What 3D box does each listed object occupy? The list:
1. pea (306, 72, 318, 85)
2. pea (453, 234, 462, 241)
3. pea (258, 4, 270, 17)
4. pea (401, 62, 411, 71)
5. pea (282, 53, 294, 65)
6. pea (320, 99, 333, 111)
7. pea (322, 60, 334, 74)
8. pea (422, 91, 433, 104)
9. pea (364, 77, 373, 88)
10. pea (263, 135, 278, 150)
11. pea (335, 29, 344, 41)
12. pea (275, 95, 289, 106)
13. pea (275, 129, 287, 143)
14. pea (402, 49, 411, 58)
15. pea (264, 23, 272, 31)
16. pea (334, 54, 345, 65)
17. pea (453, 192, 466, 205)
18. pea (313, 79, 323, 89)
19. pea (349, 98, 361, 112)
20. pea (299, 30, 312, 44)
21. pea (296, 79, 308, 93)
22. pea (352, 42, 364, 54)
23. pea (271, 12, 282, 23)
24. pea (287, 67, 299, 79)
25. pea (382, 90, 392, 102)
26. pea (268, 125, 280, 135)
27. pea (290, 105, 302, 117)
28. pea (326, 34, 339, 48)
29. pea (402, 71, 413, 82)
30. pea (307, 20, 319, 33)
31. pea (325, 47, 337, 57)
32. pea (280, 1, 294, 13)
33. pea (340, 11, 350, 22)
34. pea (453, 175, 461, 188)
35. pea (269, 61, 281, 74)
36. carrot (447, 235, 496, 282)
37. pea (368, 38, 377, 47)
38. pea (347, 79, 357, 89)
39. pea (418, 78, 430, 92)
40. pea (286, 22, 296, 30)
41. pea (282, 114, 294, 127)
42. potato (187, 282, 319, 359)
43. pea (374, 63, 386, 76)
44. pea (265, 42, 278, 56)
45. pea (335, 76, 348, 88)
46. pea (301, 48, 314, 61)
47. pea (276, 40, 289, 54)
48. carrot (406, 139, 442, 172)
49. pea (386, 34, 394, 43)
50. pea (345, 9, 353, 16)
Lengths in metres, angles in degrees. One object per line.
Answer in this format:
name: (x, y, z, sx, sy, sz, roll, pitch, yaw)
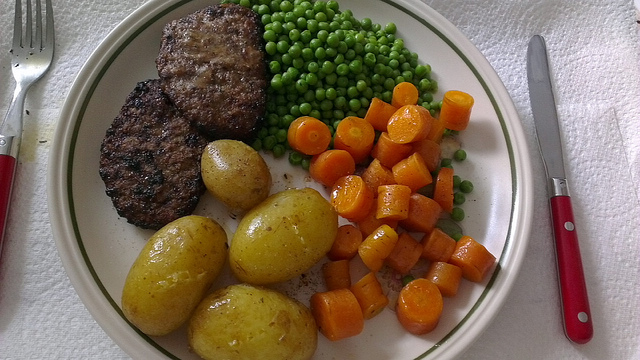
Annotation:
pea: (-0.056, -0.641, 3.684, 0.064, 0.065, 0.062, 12, 18, 40)
pea: (0.875, 0.358, 3.710, 0.038, 0.047, 0.038, 24, 23, 7)
pea: (-0.367, -1.100, 3.781, 0.065, 0.068, 0.069, 10, 87, 31)
pea: (0.556, -0.743, 3.804, 0.055, 0.030, 0.050, -4, 60, 1)
pea: (-0.212, -0.772, 3.700, 0.075, 0.061, 0.062, 11, 78, 52)
pea: (0.040, -0.487, 3.740, 0.079, 0.048, 0.050, -22, 61, -9)
pea: (0.047, -0.715, 3.681, 0.073, 0.070, 0.074, 23, 101, 44)
pea: (0.701, -0.545, 3.815, 0.060, 0.075, 0.061, 16, 33, 31)
pea: (0.312, -0.638, 3.759, 0.052, 0.049, 0.052, 18, 43, -17)
pea: (-0.328, -0.246, 3.723, 0.087, 0.065, 0.072, -33, 85, 1)
pea: (0.121, -0.934, 3.742, 0.052, 0.059, 0.055, 5, 42, 43)
pea: (-0.250, -0.518, 3.747, 0.061, 0.034, 0.064, -5, 89, -1)
pea: (-0.251, -0.284, 3.734, 0.061, 0.040, 0.074, -11, 101, 9)
pea: (0.566, -0.832, 3.836, 0.051, 0.056, 0.057, -15, 90, 29)
pea: (-0.335, -0.986, 3.728, 0.052, 0.043, 0.044, -9, 57, 38)
pea: (0.119, -0.772, 3.702, 0.056, 0.058, 0.052, -37, 22, -32)
pea: (0.893, 0.115, 3.739, 0.074, 0.071, 0.076, -8, 88, -11)
pea: (-0.012, -0.609, 3.733, 0.054, 0.066, 0.057, -3, 74, 6)
pea: (0.221, -0.485, 3.723, 0.064, 0.067, 0.078, 6, 106, 17)
pea: (-0.097, -0.912, 3.748, 0.071, 0.074, 0.088, -38, 25, 4)
pea: (-0.120, -0.602, 3.738, 0.071, 0.070, 0.070, 30, 42, 26)
pea: (0.242, -0.847, 3.726, 0.061, 0.077, 0.063, 4, 22, 12)
pea: (-0.283, -1.047, 3.730, 0.056, 0.053, 0.065, 9, 99, -3)
pea: (-0.177, -0.682, 3.710, 0.073, 0.041, 0.057, 35, 91, -4)
pea: (0.433, -0.549, 3.780, 0.057, 0.055, 0.060, -1, 75, 1)
pea: (-0.304, -0.323, 3.747, 0.060, 0.046, 0.048, -19, 81, 20)
pea: (-0.159, -0.446, 3.738, 0.063, 0.073, 0.066, 2, 100, -12)
pea: (0.078, -0.879, 3.719, 0.067, 0.073, 0.075, -30, 28, 16)
pea: (0.569, -0.679, 3.783, 0.062, 0.077, 0.067, 12, 30, 25)
pea: (-0.050, -0.982, 3.752, 0.066, 0.067, 0.079, -14, 54, -2)
pea: (0.069, -0.816, 3.686, 0.052, 0.050, 0.055, -20, 101, -2)
pea: (-0.216, -1.130, 3.763, 0.083, 0.031, 0.070, -28, 63, -12)
pea: (0.159, -1.065, 3.792, 0.063, 0.023, 0.089, -3, 60, 2)
pea: (0.867, 0.003, 3.795, 0.063, 0.066, 0.077, -2, 43, -12)
pea: (-0.292, -0.722, 3.701, 0.066, 0.064, 0.072, 14, 80, -8)
carrot: (0.941, 0.501, 3.636, 0.255, 0.171, 0.192, 31, 67, 19)
pea: (0.343, -0.904, 3.803, 0.051, 0.040, 0.029, 32, 83, 19)
pea: (0.208, -0.619, 3.743, 0.047, 0.027, 0.049, 4, 60, 5)
pea: (0.673, -0.625, 3.797, 0.064, 0.069, 0.068, 1, 35, -8)
pea: (-0.191, -0.990, 3.721, 0.055, 0.025, 0.056, 25, 65, 17)
pea: (-0.210, -0.388, 3.780, 0.067, 0.085, 0.068, 6, 18, 3)
potato: (-0.395, 0.891, 3.485, 0.747, 0.418, 0.446, 8, 61, 8)
pea: (0.378, -0.720, 3.750, 0.072, 0.025, 0.074, 5, 98, 3)
pea: (-0.314, -0.852, 3.762, 0.071, 0.090, 0.073, -16, 32, -20)
pea: (0.144, -0.627, 3.723, 0.062, 0.065, 0.066, 1, 74, -1)
pea: (-0.086, -0.801, 3.690, 0.067, 0.070, 0.066, 2, 99, -18)
pea: (-0.240, -0.848, 3.692, 0.071, 0.070, 0.086, 6, 102, 7)
carrot: (0.680, -0.180, 3.783, 0.216, 0.195, 0.174, 26, 51, 13)
pea: (0.466, -0.945, 3.851, 0.036, 0.026, 0.048, -5, 59, -8)
pea: (0.182, -1.115, 3.851, 0.045, 0.045, 0.025, 34, 100, 33)
